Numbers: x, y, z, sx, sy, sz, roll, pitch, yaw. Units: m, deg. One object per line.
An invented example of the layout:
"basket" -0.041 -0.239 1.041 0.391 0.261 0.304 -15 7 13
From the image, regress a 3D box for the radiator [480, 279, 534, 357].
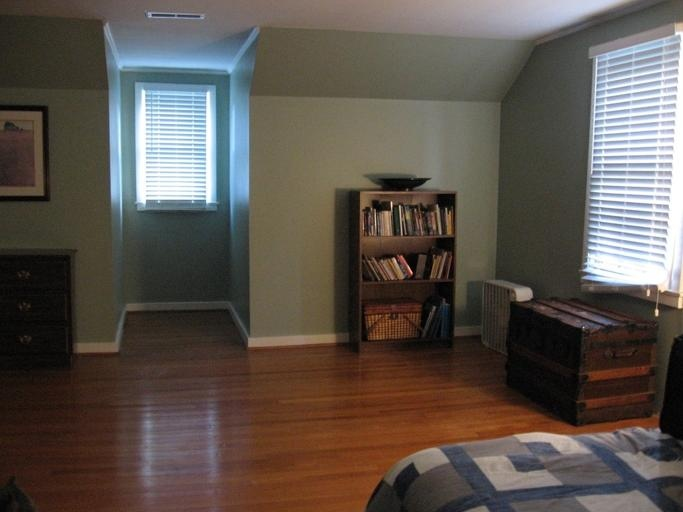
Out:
"radiator" 1.473 0.549 5.069 0.237 0.632 0.632 -2 10 -12

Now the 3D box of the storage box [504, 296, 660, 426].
"storage box" 1.824 0.788 4.495 0.641 0.730 1.078 0 5 -10
